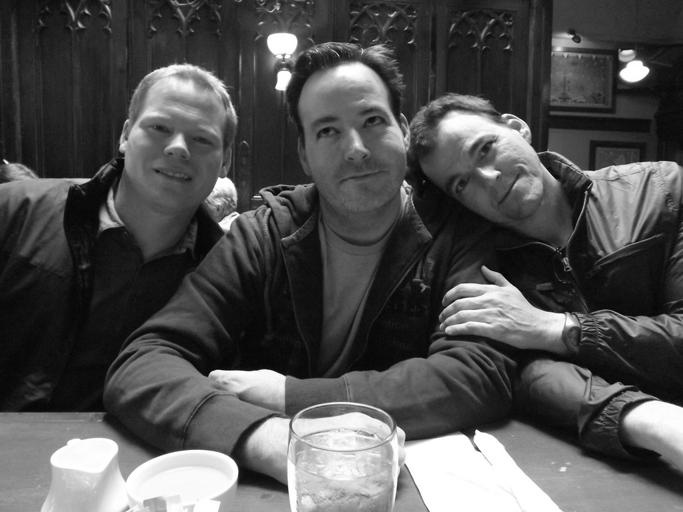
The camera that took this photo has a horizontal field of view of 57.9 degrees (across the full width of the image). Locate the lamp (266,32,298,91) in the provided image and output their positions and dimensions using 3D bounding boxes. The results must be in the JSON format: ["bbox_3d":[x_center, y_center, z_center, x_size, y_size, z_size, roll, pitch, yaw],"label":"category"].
[{"bbox_3d":[-0.472,-1.541,4.927,0.177,0.285,0.174,5,23,-18],"label":"lamp"}]

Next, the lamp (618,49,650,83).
[{"bbox_3d":[3.357,-2.218,7.135,0.340,0.382,0.614,8,12,23],"label":"lamp"}]
